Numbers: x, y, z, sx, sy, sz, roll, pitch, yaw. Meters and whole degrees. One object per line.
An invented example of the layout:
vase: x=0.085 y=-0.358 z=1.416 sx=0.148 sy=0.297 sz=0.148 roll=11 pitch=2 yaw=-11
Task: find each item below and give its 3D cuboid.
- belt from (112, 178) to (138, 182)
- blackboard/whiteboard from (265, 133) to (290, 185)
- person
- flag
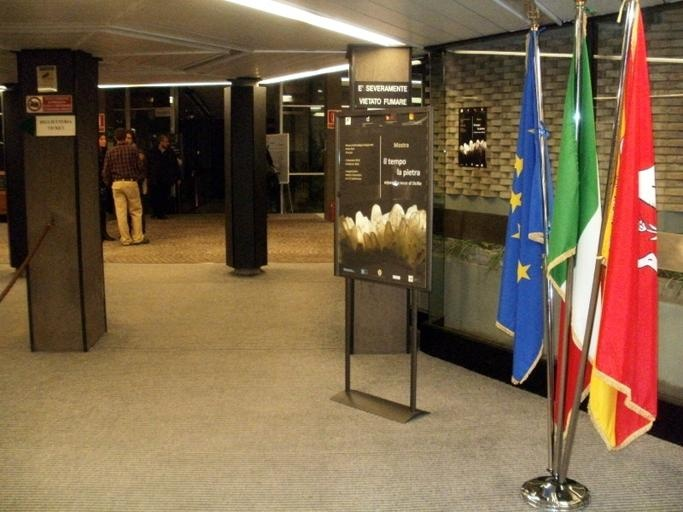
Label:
belt: x=-4.437 y=-1.570 z=11.785 sx=0.504 sy=0.081 sz=0.237 roll=-5 pitch=12 yaw=-25
blackboard/whiteboard: x=-1.923 y=-2.934 z=17.443 sx=0.643 sy=1.528 sz=0.724 roll=-1 pitch=10 yaw=-6
person: x=-4.561 y=-1.445 z=12.034 sx=0.798 sy=2.379 sz=1.042 roll=-4 pitch=10 yaw=-19
flag: x=1.475 y=-0.117 z=3.138 sx=0.589 sy=2.432 sz=0.398 roll=6 pitch=11 yaw=36
